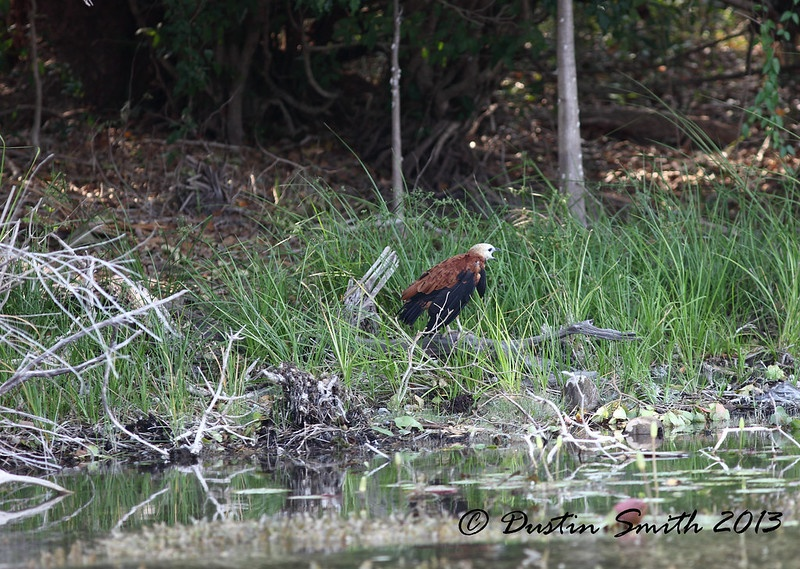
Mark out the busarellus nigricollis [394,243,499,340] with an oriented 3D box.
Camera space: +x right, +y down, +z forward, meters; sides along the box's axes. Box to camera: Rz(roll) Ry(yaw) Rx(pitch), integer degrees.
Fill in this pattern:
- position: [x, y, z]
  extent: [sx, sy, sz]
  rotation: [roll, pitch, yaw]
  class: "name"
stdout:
- position: [0.459, -0.053, 8.460]
  extent: [0.704, 0.593, 0.485]
  rotation: [3, 19, 22]
  class: "busarellus nigricollis"
